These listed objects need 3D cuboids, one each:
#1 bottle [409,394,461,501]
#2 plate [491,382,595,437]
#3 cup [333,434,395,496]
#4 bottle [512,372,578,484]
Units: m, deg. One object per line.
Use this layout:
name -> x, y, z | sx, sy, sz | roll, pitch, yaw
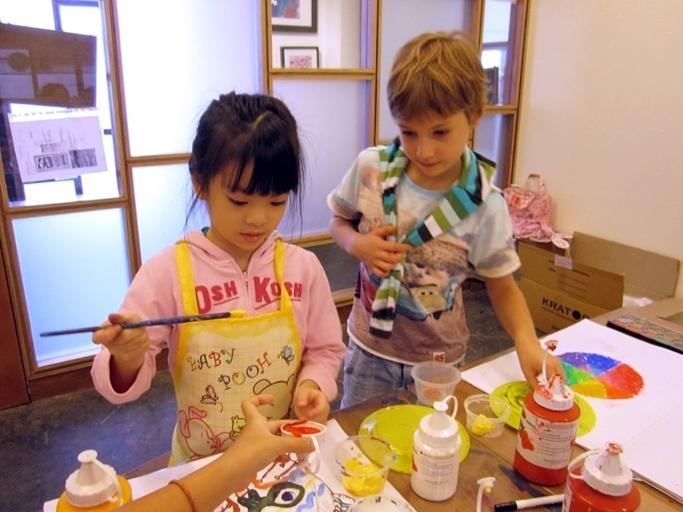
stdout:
bottle -> 0.213, 0.438, 1.166 | 0.119, 0.241, 0.128 | -2, 21, 1
plate -> 0.550, 0.401, 1.385 | 0.156, 0.009, 0.162 | 8, 31, 21
cup -> 0.056, 0.474, 1.185 | 0.127, 0.083, 0.117 | -4, 19, 1
bottle -> 0.490, 0.392, 1.186 | 0.165, 0.251, 0.089 | -6, 19, -5
